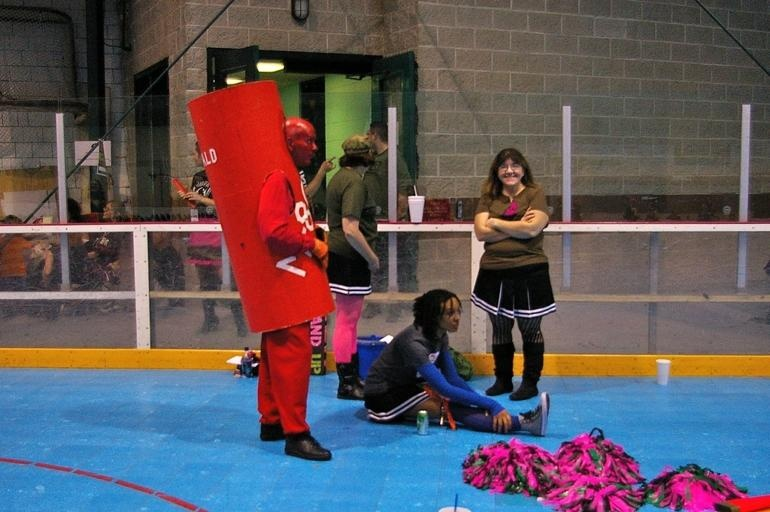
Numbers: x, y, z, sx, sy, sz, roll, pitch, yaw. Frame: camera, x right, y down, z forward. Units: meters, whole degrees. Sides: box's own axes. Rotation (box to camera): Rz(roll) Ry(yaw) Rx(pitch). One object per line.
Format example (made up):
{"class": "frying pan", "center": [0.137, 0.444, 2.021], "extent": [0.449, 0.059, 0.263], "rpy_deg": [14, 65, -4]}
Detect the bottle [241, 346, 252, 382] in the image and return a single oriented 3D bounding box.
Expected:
{"class": "bottle", "center": [-1.445, 1.135, 11.292], "extent": [0.093, 0.265, 0.123], "rpy_deg": [4, 8, 43]}

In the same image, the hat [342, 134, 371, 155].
{"class": "hat", "center": [-0.279, -1.072, 10.384], "extent": [0.259, 0.183, 0.126], "rpy_deg": [-1, 5, -2]}

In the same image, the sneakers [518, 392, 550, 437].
{"class": "sneakers", "center": [1.341, 1.431, 9.841], "extent": [0.255, 0.402, 0.236], "rpy_deg": [0, 5, 9]}

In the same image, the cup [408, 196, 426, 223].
{"class": "cup", "center": [0.313, -0.492, 11.380], "extent": [0.159, 0.295, 0.125], "rpy_deg": [-1, 6, -1]}

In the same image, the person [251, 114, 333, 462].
{"class": "person", "center": [-0.809, 0.287, 9.478], "extent": [0.657, 2.993, 0.468], "rpy_deg": [-1, 6, -7]}

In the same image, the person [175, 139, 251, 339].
{"class": "person", "center": [-1.862, -0.167, 11.560], "extent": [0.596, 2.084, 0.356], "rpy_deg": [-3, 6, -21]}

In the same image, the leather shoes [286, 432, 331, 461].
{"class": "leather shoes", "center": [-0.696, 1.685, 9.449], "extent": [0.430, 0.172, 0.199], "rpy_deg": [1, -1, 10]}

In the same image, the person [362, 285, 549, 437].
{"class": "person", "center": [0.707, 0.988, 9.936], "extent": [1.851, 1.214, 0.749], "rpy_deg": [8, 14, 34]}

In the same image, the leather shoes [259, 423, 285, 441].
{"class": "leather shoes", "center": [-1.026, 1.600, 9.748], "extent": [0.283, 0.158, 0.118], "rpy_deg": [0, 4, -5]}
